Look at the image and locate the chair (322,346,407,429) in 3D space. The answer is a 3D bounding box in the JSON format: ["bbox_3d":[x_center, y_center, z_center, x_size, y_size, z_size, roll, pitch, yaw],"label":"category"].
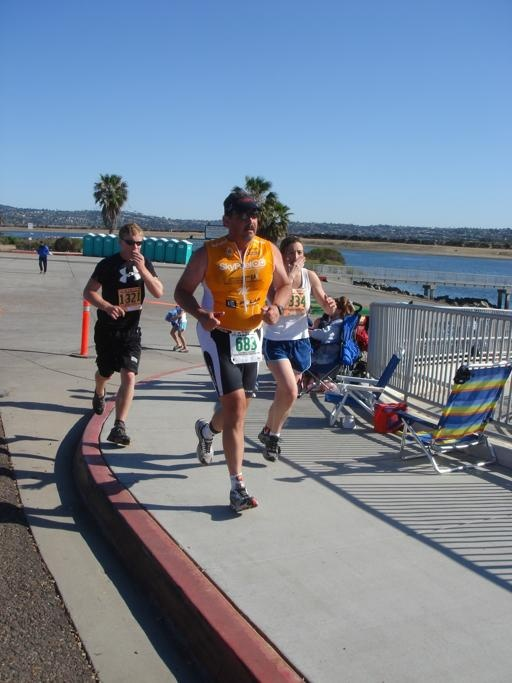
[{"bbox_3d":[1.203,0.542,6.048,0.856,0.771,0.697,1,5,10],"label":"chair"}]

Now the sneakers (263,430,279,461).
[{"bbox_3d":[0.144,0.820,4.205,0.088,0.242,0.110,8,-25,-35],"label":"sneakers"}]

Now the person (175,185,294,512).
[{"bbox_3d":[-0.162,0.047,3.467,0.718,2.088,0.896,3,5,3],"label":"person"}]

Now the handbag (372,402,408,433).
[{"bbox_3d":[1.334,0.787,5.424,0.326,0.259,0.306,3,2,-9],"label":"handbag"}]

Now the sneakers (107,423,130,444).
[{"bbox_3d":[-1.203,0.819,4.642,0.183,0.192,0.150,1,5,-15],"label":"sneakers"}]

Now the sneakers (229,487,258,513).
[{"bbox_3d":[-0.082,1.010,3.391,0.112,0.104,0.222,2,-8,-28],"label":"sneakers"}]

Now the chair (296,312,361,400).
[{"bbox_3d":[1.012,0.127,6.980,0.720,0.866,0.615,8,1,36],"label":"chair"}]

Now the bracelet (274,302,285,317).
[{"bbox_3d":[0.153,-0.209,3.464,0.062,0.079,0.047,2,-25,-24],"label":"bracelet"}]

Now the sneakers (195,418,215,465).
[{"bbox_3d":[-0.407,0.786,4.101,0.132,0.365,0.173,-12,7,-29],"label":"sneakers"}]

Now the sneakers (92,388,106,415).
[{"bbox_3d":[-1.560,0.625,5.362,0.117,0.295,0.131,-6,6,-36],"label":"sneakers"}]

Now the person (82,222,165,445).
[{"bbox_3d":[-1.248,-0.097,4.924,0.616,1.976,0.860,-1,6,-35],"label":"person"}]
